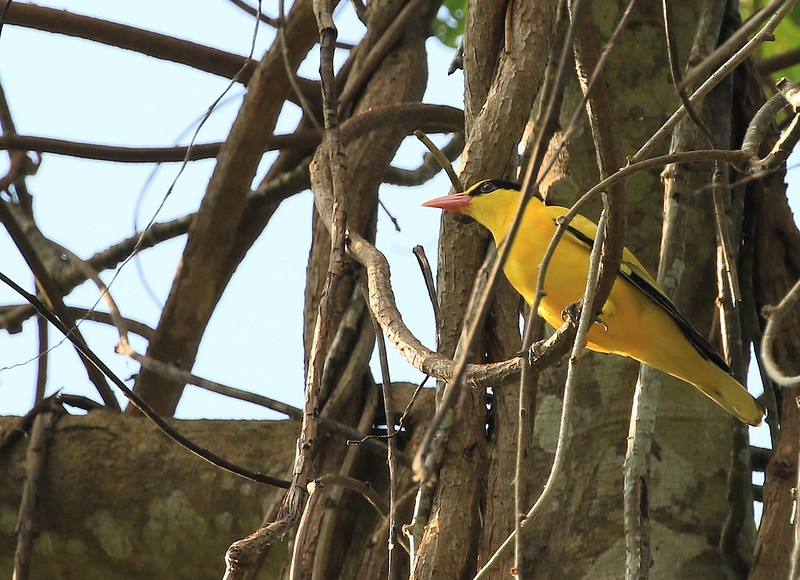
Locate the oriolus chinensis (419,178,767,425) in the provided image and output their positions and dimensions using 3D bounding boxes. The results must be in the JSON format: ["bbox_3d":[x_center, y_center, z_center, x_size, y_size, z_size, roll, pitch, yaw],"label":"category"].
[{"bbox_3d":[0.709,0.024,6.264,1.252,0.591,0.421,22,-55,-13],"label":"oriolus chinensis"}]
